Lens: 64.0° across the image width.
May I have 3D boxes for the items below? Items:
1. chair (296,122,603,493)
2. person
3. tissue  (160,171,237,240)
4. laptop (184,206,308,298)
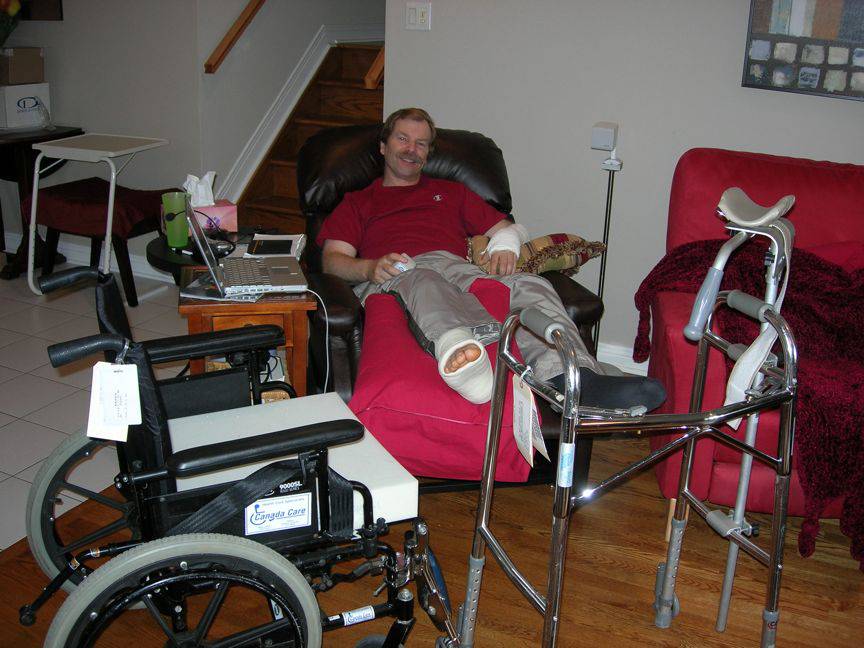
[{"bbox_3d":[0.011,-0.102,2.926,1.177,1.451,1.359,-7,15,-18],"label":"chair"},{"bbox_3d":[0.087,-0.331,2.705,0.836,0.956,1.687,-5,17,-17],"label":"person"},{"bbox_3d":[-1.008,-0.534,3.109,0.280,0.291,0.198,0,23,-3],"label":"tissue "},{"bbox_3d":[-0.691,-0.283,2.594,0.416,0.280,0.468,-3,13,-15],"label":"laptop"}]
